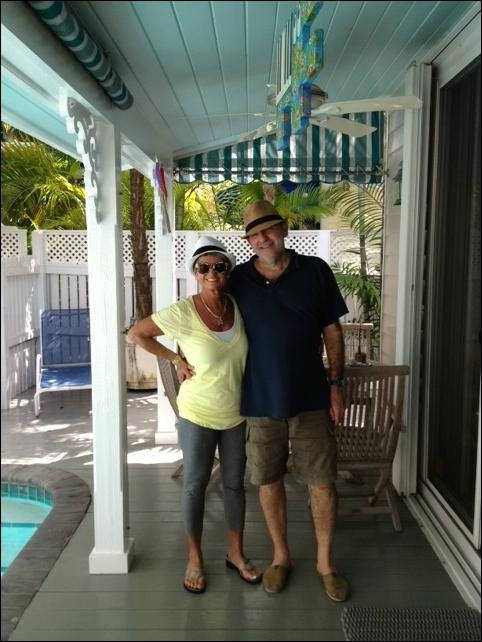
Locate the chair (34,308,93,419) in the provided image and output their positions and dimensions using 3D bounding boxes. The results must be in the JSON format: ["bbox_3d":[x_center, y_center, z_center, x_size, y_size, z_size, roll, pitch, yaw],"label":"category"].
[{"bbox_3d":[-2.240,0.464,6.141,0.648,1.197,1.158,-2,3,-19],"label":"chair"}]

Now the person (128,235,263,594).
[{"bbox_3d":[-0.205,0.445,2.359,0.529,1.669,0.305,0,4,24],"label":"person"}]

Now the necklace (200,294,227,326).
[{"bbox_3d":[-0.134,-0.058,2.249,0.109,0.144,0.036,-22,-7,-39],"label":"necklace"}]

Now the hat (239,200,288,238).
[{"bbox_3d":[0.092,-0.481,2.322,0.178,0.099,0.187,-27,10,8],"label":"hat"}]

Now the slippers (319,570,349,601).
[{"bbox_3d":[0.442,1.225,2.322,0.130,0.091,0.235,-1,3,3],"label":"slippers"}]

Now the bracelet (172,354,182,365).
[{"bbox_3d":[-0.306,0.187,2.358,0.050,0.060,0.024,1,12,42],"label":"bracelet"}]

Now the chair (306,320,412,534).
[{"bbox_3d":[0.919,0.714,3.232,0.758,1.142,0.887,-1,6,5],"label":"chair"}]
